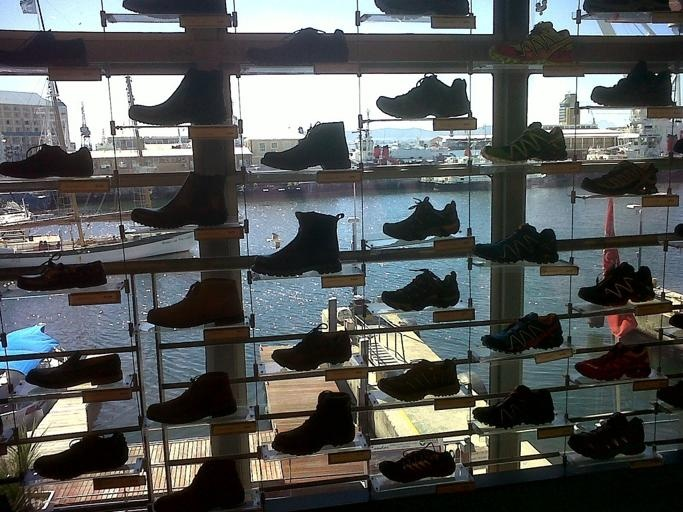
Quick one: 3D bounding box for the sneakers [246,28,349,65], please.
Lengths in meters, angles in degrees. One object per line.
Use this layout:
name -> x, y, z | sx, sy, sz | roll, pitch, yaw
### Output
sneakers -> -0.185, -1.082, 3.237 | 0.632, 0.217, 0.200 | -1, 17, -8

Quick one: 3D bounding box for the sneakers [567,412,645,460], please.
sneakers -> 1.544, 1.043, 3.686 | 0.562, 0.269, 0.199 | -1, 3, -16

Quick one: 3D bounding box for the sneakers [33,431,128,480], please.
sneakers -> -1.303, 1.025, 3.273 | 0.554, 0.228, 0.198 | -2, 5, -17

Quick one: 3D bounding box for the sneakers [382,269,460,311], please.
sneakers -> 0.462, 0.198, 3.547 | 0.540, 0.255, 0.186 | -1, 4, -8

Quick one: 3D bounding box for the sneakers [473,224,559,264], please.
sneakers -> 1.020, -0.075, 3.600 | 0.547, 0.260, 0.196 | 2, 6, -2

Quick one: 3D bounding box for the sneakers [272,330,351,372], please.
sneakers -> -0.160, 0.507, 3.346 | 0.433, 0.222, 0.103 | -5, 5, -8

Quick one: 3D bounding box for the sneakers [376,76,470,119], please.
sneakers -> 0.469, -0.883, 3.491 | 0.636, 0.281, 0.196 | 1, 5, -3

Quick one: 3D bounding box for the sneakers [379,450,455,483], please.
sneakers -> 0.439, 1.162, 3.506 | 0.459, 0.195, 0.165 | 0, 0, -6

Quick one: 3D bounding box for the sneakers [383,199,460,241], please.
sneakers -> 0.369, -0.188, 3.402 | 0.525, 0.278, 0.172 | -2, 7, -6

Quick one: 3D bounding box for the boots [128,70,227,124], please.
boots -> -0.781, -0.835, 3.285 | 0.600, 0.376, 0.207 | 2, 8, -9

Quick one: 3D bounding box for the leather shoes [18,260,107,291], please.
leather shoes -> -1.375, 0.102, 3.123 | 0.444, 0.166, 0.159 | -3, 6, -22

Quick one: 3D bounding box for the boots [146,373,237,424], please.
boots -> -0.740, 0.750, 3.296 | 0.554, 0.275, 0.195 | -1, 3, -14

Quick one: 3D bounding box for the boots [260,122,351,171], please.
boots -> -0.237, -0.578, 3.236 | 0.628, 0.314, 0.200 | 1, 5, -4

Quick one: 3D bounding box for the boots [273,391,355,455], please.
boots -> -0.105, 0.901, 3.394 | 0.575, 0.381, 0.216 | 0, 5, -7

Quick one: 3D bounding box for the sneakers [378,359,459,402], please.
sneakers -> 0.462, 0.691, 3.527 | 0.538, 0.235, 0.187 | -3, 0, -13

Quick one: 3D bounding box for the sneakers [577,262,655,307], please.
sneakers -> 1.521, 0.163, 3.570 | 0.542, 0.271, 0.184 | -4, 6, -4

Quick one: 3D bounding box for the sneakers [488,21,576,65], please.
sneakers -> 1.080, -1.208, 3.493 | 0.521, 0.232, 0.198 | -2, 29, -3

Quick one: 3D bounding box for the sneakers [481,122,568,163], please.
sneakers -> 0.951, -0.641, 3.463 | 0.577, 0.254, 0.195 | 0, 9, -4

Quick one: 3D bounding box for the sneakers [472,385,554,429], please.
sneakers -> 1.004, 0.867, 3.605 | 0.550, 0.280, 0.191 | -1, 1, -6

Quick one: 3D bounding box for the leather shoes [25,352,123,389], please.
leather shoes -> -1.351, 0.596, 3.286 | 0.547, 0.218, 0.188 | 0, 0, -10

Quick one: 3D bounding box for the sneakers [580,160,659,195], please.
sneakers -> 1.543, -0.439, 3.448 | 0.490, 0.204, 0.177 | -1, 8, -4

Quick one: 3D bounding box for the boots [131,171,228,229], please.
boots -> -0.785, -0.287, 3.283 | 0.581, 0.359, 0.198 | 1, 4, -12
